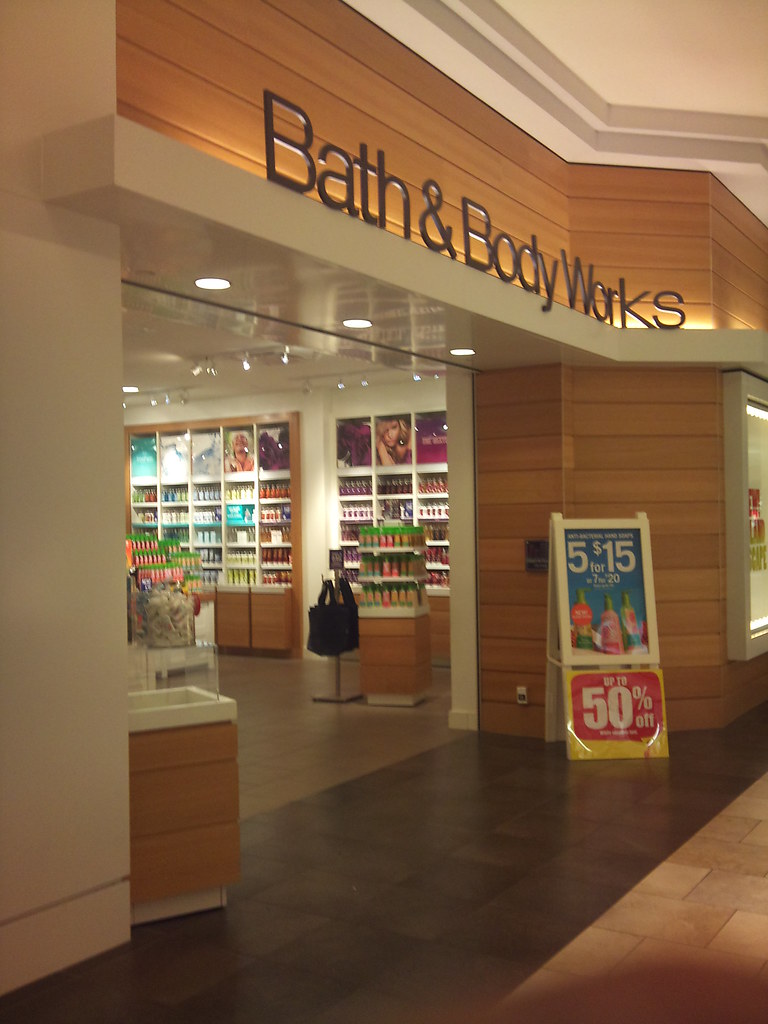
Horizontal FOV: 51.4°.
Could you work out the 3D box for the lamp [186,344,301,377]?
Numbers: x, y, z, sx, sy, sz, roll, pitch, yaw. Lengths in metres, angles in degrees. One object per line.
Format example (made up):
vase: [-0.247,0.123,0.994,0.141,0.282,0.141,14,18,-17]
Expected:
lamp: [-1.500,-1.674,8.743,0.759,0.181,0.735,-3,0,27]

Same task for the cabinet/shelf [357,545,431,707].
cabinet/shelf: [0.103,1.064,8.161,0.718,1.766,0.444,-1,-4,-1]

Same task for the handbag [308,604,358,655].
handbag: [-0.530,1.229,8.424,0.525,0.524,0.302,2,5,11]
